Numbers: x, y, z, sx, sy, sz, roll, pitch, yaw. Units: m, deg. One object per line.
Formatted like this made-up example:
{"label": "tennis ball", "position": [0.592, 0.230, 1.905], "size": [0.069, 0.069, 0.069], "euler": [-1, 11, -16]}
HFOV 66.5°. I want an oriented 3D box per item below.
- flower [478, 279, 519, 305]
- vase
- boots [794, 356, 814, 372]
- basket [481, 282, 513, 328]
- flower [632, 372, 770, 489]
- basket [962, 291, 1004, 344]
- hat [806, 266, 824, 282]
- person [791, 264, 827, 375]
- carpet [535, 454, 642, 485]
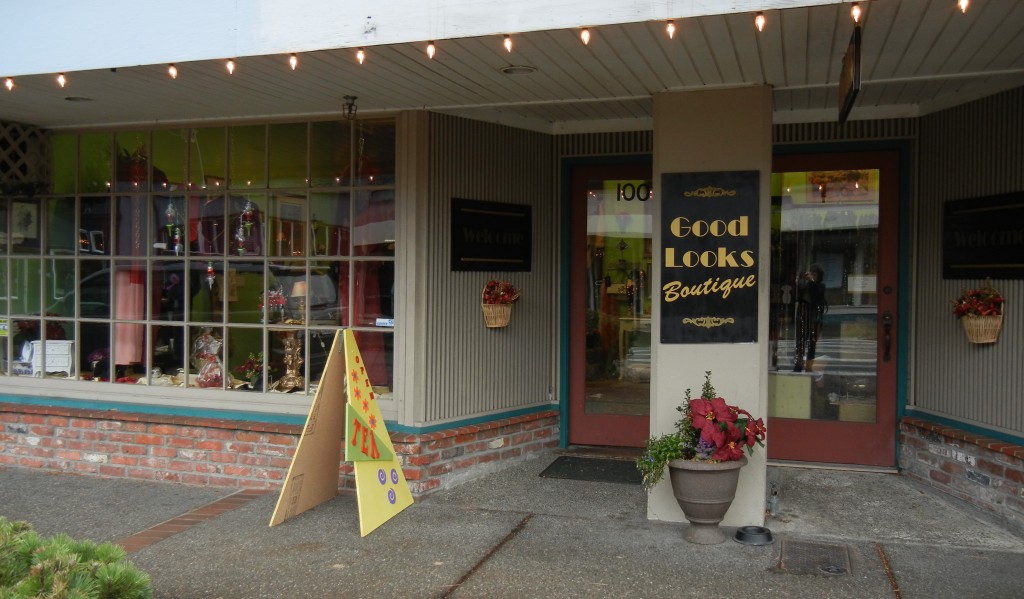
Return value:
{"label": "flower", "position": [-0.168, -0.083, 8.792], "size": [0.287, 0.197, 0.044], "euler": [2, -10, -32]}
{"label": "vase", "position": [1.802, 1.869, 7.417], "size": [0.780, 0.659, 0.743], "euler": [1, -8, 3]}
{"label": "boots", "position": [3.314, 0.729, 8.834], "size": [0.218, 0.187, 0.127], "euler": [3, -1, 15]}
{"label": "basket", "position": [-0.149, 0.064, 8.816], "size": [0.411, 0.539, 0.124], "euler": [-3, 4, -40]}
{"label": "flower", "position": [1.754, 1.241, 7.222], "size": [0.867, 1.180, 1.012], "euler": [0, 0, 8]}
{"label": "basket", "position": [4.747, 0.178, 7.867], "size": [0.186, 0.599, 0.345], "euler": [-2, 3, -33]}
{"label": "hat", "position": [3.434, -0.292, 8.834], "size": [0.136, 0.165, 0.172], "euler": [-1, 5, -38]}
{"label": "person", "position": [3.360, 0.216, 8.838], "size": [0.353, 1.164, 0.332], "euler": [1, 2, 11]}
{"label": "carpet", "position": [0.883, 1.898, 8.738], "size": [1.096, 0.113, 0.754], "euler": [0, 3, 8]}
